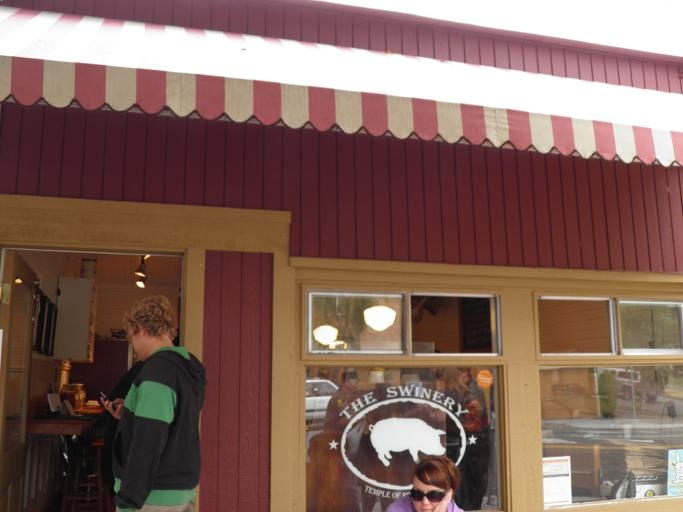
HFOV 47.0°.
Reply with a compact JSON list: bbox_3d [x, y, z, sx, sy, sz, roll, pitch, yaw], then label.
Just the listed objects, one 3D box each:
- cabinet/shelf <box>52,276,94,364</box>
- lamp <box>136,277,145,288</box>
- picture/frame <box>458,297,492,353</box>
[{"bbox_3d":[-4.286,0.997,12.432,0.386,1.320,1.247,2,-2,-19],"label":"cabinet/shelf"},{"bbox_3d":[-4.170,0.538,16.237,0.226,0.277,0.205,-6,-7,23],"label":"lamp"},{"bbox_3d":[1.283,0.657,7.515,0.372,0.869,0.055,-2,-6,29],"label":"picture/frame"}]
